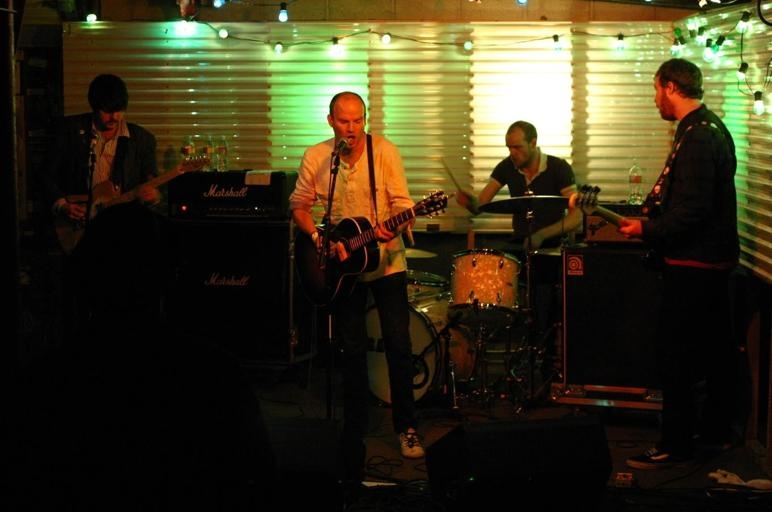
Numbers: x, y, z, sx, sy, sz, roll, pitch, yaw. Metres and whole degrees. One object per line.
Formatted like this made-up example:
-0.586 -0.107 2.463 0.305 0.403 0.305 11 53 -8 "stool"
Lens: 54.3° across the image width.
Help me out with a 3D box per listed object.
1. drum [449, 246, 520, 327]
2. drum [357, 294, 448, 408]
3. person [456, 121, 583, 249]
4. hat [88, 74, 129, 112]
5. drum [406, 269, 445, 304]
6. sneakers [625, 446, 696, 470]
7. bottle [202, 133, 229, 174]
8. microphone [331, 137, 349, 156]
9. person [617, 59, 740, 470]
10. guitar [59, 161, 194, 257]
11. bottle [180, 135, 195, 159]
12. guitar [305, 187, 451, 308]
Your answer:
0.698 0.230 5.319 0.485 0.600 0.352 2 9 4 "drum"
0.213 0.745 5.817 0.824 0.793 0.609 -10 -9 34 "drum"
1.055 -0.474 6.070 1.044 1.218 0.685 -5 18 1 "person"
-2.186 -1.335 5.948 0.255 0.312 0.267 2 9 3 "hat"
0.292 0.202 5.720 0.301 0.189 0.113 10 34 16 "drum"
1.705 1.265 4.743 0.430 0.136 0.149 1 -6 -3 "sneakers"
-1.457 -0.919 6.393 0.217 0.288 0.433 0 9 -12 "bottle"
-0.281 -0.701 4.625 0.096 0.103 0.315 1 9 -3 "microphone"
1.890 0.041 4.689 0.716 2.566 0.498 4 9 16 "person"
-1.986 -0.371 5.687 0.797 0.280 0.110 -22 -6 -3 "guitar"
-1.713 -0.981 6.493 0.121 0.193 0.205 -1 9 -15 "bottle"
-0.102 -0.089 4.604 1.120 0.474 0.160 -24 -12 31 "guitar"
